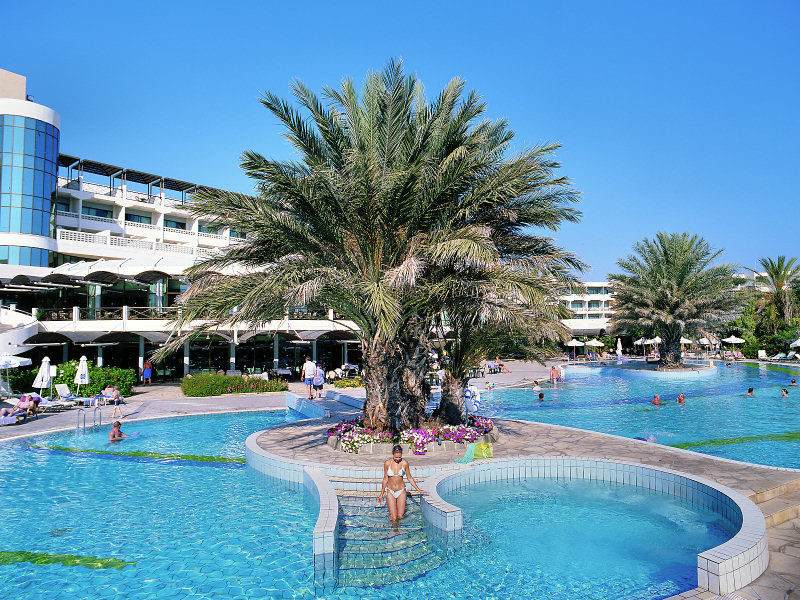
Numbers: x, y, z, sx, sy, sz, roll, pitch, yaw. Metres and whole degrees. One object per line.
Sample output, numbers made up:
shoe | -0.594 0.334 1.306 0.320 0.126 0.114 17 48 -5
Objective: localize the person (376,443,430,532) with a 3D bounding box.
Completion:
person | 0.025 3.671 10.485 1.142 1.702 0.665 2 3 6

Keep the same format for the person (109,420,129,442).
person | -8.700 3.964 16.838 0.405 0.569 0.792 1 -2 -6
